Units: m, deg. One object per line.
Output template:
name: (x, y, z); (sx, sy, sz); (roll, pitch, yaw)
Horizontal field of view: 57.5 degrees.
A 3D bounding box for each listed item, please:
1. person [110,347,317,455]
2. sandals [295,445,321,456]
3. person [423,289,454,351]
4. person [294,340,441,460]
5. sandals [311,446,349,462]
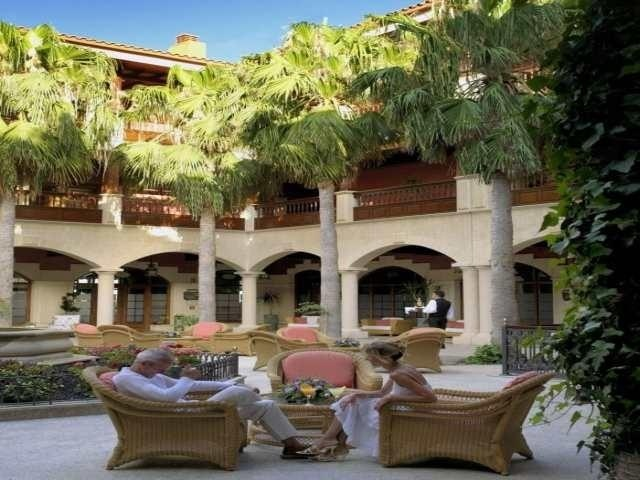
person: (-0.950, 1.451, 5.297); (1.971, 0.744, 0.766); (7, -9, -5)
sandals: (-0.084, 1.899, 5.260); (0.204, 0.044, 0.078); (13, -19, -36)
person: (2.788, 1.959, 14.114); (0.831, 1.428, 0.684); (9, -2, -19)
person: (0.517, 1.470, 5.310); (1.390, 1.039, 0.498); (-4, -18, 24)
sandals: (0.097, 1.923, 5.248); (0.346, 0.100, 0.122); (4, -14, -15)
